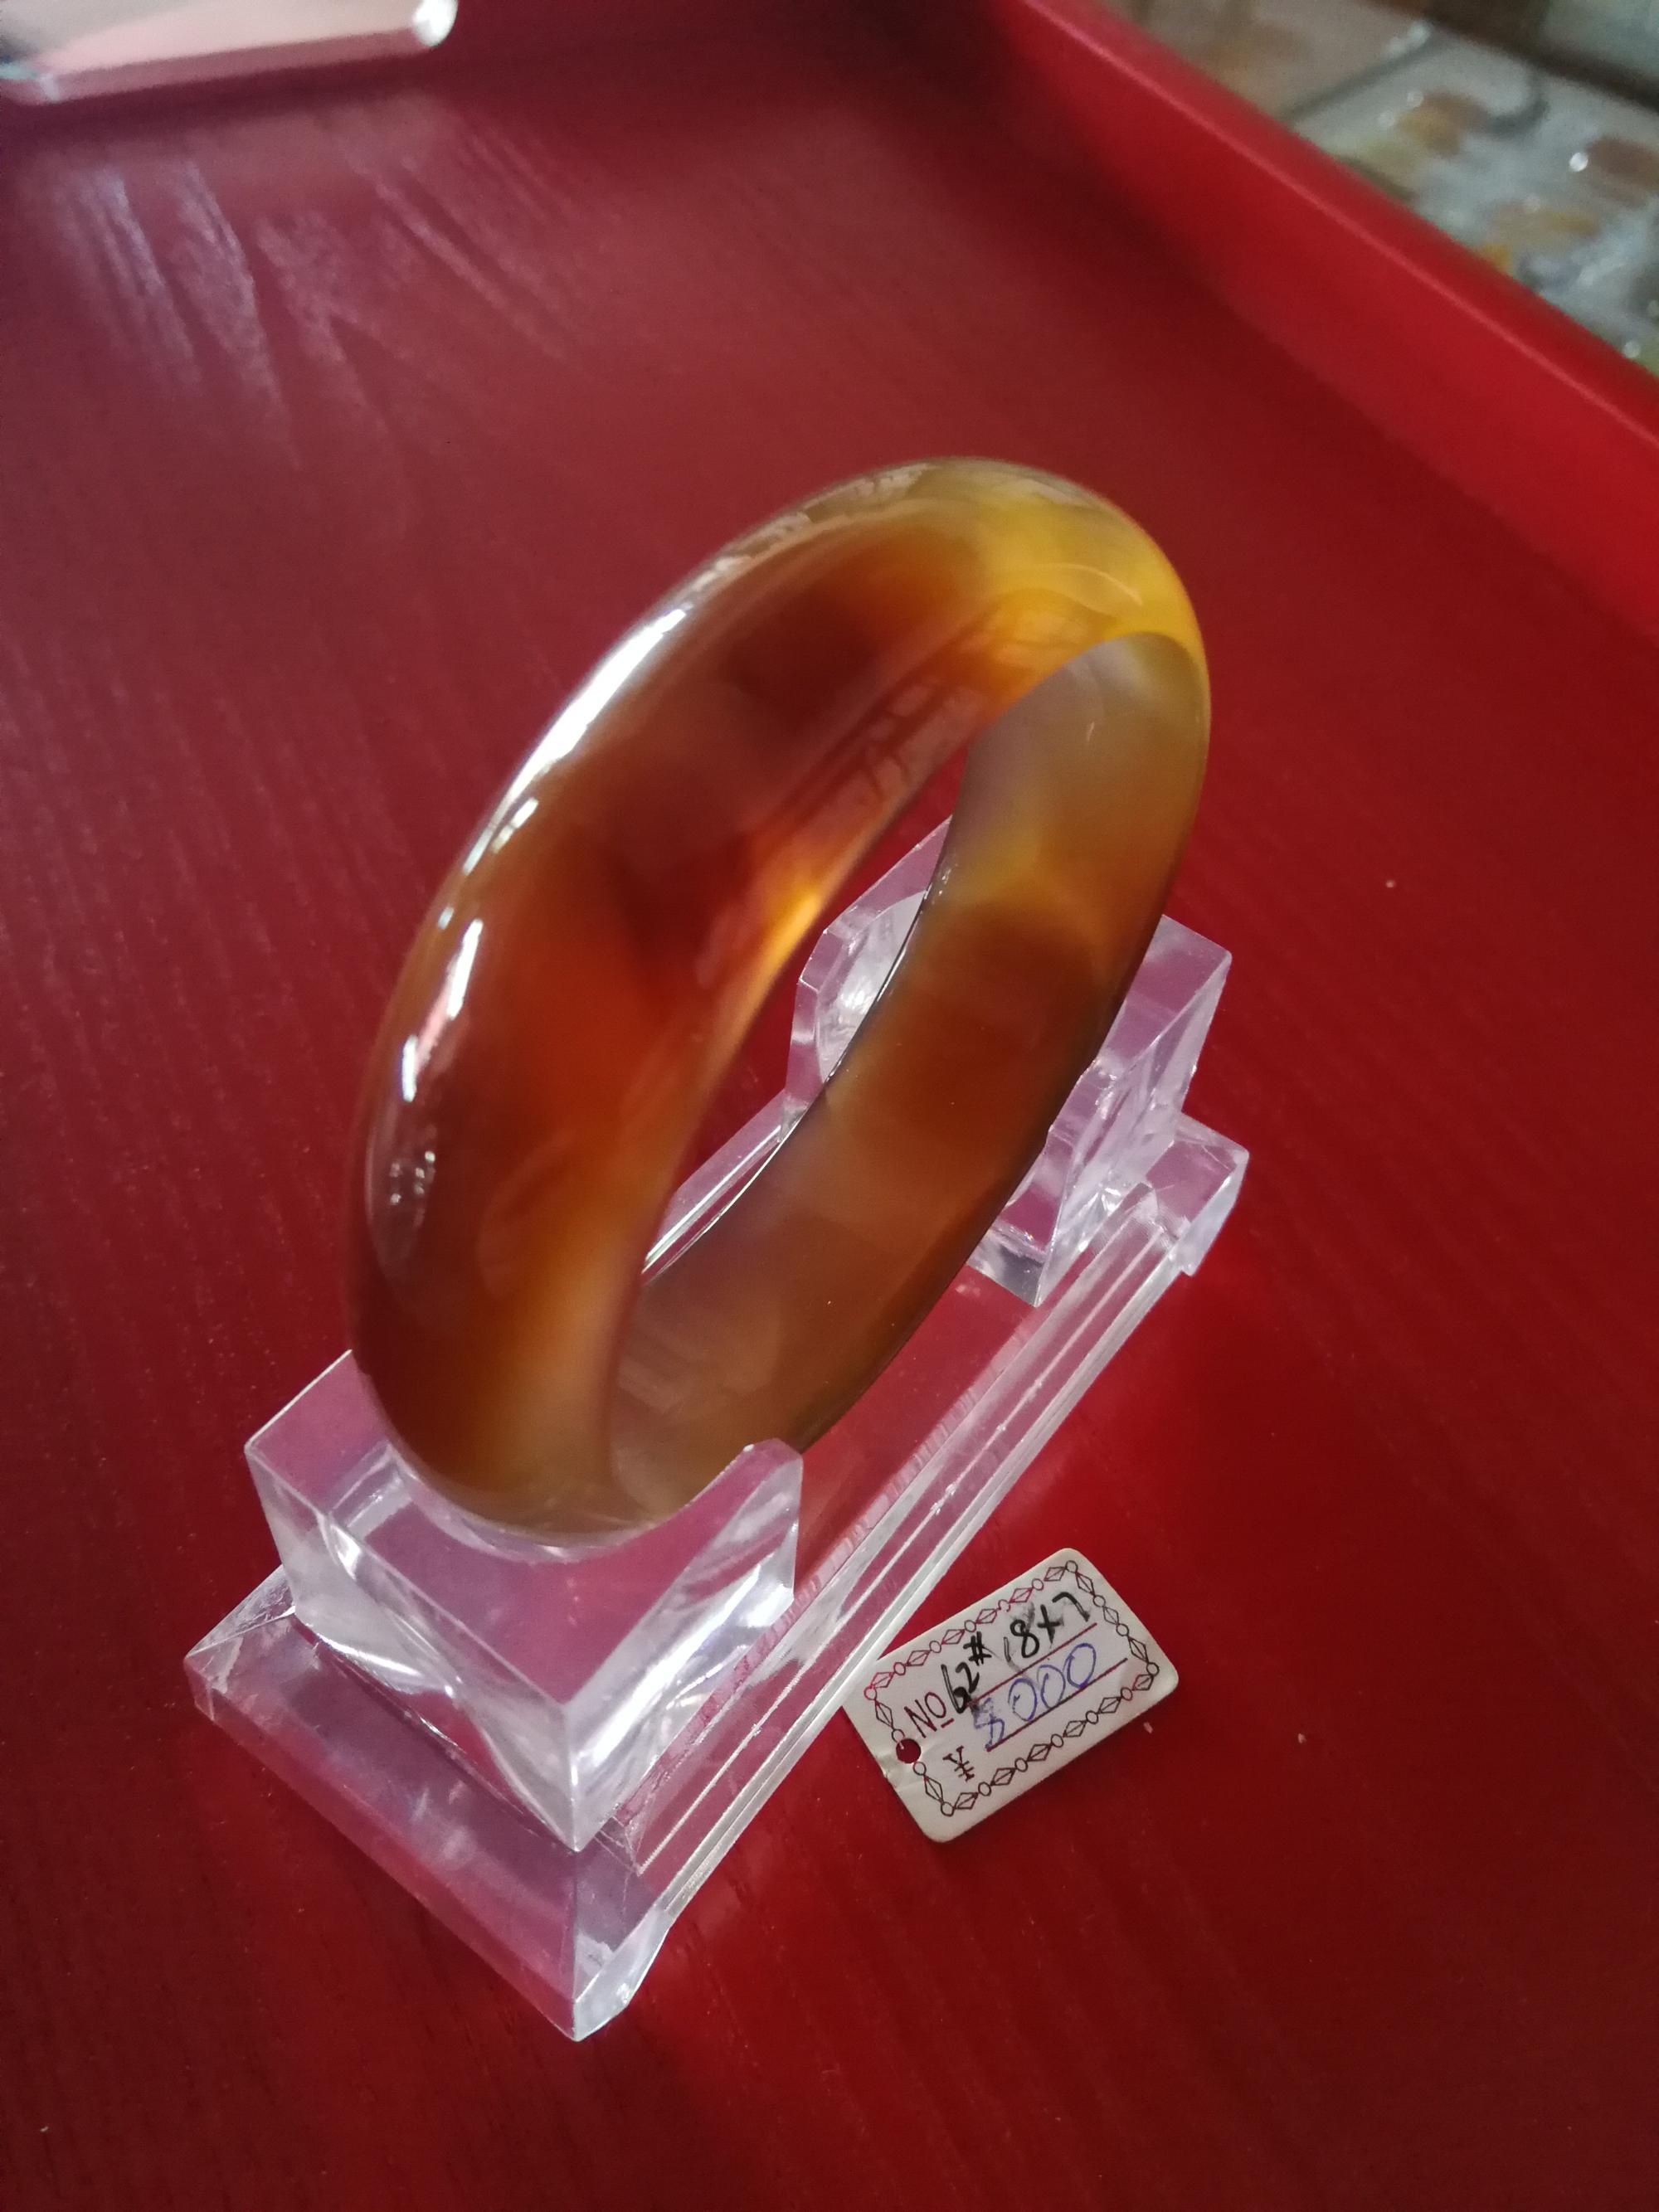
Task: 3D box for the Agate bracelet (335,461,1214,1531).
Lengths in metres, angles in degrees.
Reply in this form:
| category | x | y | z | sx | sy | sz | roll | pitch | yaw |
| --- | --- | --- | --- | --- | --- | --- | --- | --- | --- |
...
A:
| category | x | y | z | sx | sy | sz | roll | pitch | yaw |
| --- | --- | --- | --- | --- | --- | --- | --- | --- | --- |
| Agate bracelet | -0.004 | -0.032 | 0.640 | 0.074 | 0.291 | 0.342 | 29 | 47 | 24 |

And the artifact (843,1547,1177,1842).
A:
| category | x | y | z | sx | sy | sz | roll | pitch | yaw |
| --- | --- | --- | --- | --- | --- | --- | --- | --- | --- |
| artifact | 0.061 | 0.198 | 0.757 | 0.107 | 0.023 | 0.066 | -26 | 68 | -18 |
